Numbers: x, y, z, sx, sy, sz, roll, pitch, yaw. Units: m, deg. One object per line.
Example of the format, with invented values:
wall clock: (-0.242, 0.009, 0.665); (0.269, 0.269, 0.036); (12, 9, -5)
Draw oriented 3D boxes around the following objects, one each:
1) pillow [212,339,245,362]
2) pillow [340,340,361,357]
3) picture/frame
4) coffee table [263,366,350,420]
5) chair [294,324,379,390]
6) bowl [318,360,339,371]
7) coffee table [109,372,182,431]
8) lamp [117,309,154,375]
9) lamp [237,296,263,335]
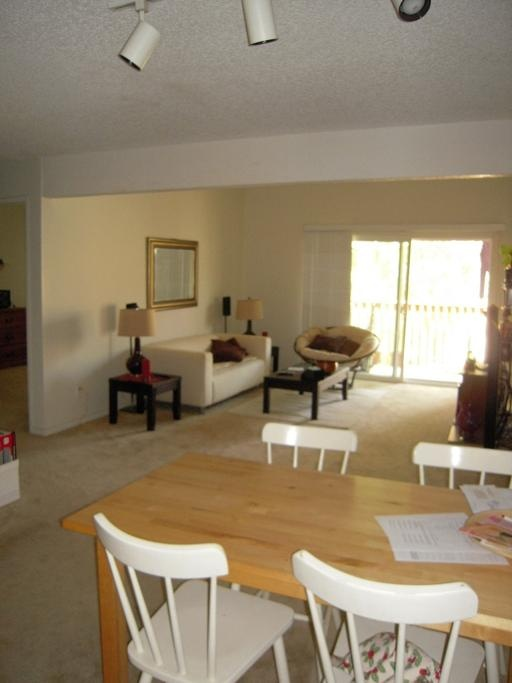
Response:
pillow: (-0.350, 0.138, 6.706); (0.313, 0.102, 0.328); (-8, 37, -33)
pillow: (1.325, 0.096, 7.497); (0.217, 0.243, 0.058); (21, -36, 4)
picture/frame: (-1.038, -0.858, 6.691); (0.114, 0.946, 1.282); (1, 1, 19)
coffee table: (0.612, 0.572, 6.208); (0.669, 0.482, 1.310); (1, 1, 26)
chair: (1.121, 0.238, 7.522); (1.155, 0.870, 1.035); (6, 7, 25)
bowl: (0.818, 0.273, 6.072); (0.129, 0.094, 0.131); (0, 2, 0)
coffee table: (-1.117, 0.546, 5.342); (0.576, 0.531, 0.588); (8, 13, 32)
lamp: (-1.226, -0.021, 5.407); (0.338, 0.717, 0.645); (0, 1, -14)
lamp: (-0.096, -0.378, 7.984); (0.472, 0.775, 0.505); (-2, 13, -2)
